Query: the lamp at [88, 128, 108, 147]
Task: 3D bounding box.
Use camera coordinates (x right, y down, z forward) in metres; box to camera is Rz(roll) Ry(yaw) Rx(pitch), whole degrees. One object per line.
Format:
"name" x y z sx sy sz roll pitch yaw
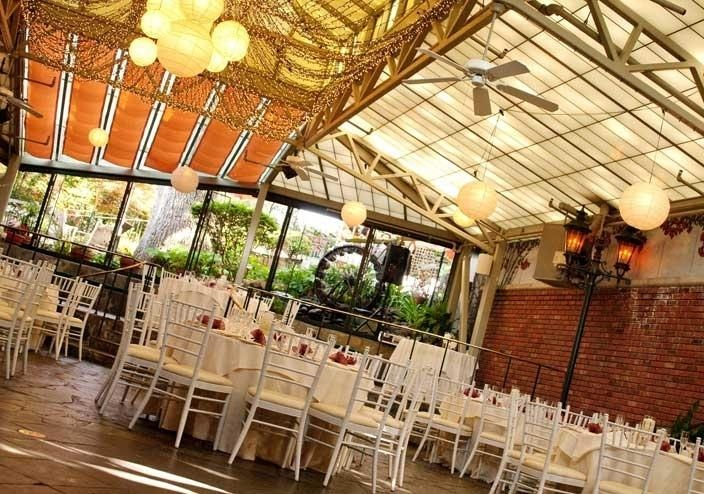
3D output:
"lamp" -4.784 -2.099 9.453 0.276 0.290 0.500 11 -8 -23

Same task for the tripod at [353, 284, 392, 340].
"tripod" 0.371 1.546 12.058 1.250 1.112 0.398 5 -4 23

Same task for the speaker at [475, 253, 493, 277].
"speaker" 2.961 0.415 11.189 0.463 0.470 0.471 -3 -10 32

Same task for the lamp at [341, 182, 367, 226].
"lamp" 0.031 -0.617 8.953 0.395 0.430 0.266 8 -7 5

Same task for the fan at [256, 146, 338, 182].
"fan" -1.225 -1.831 10.880 1.228 0.394 1.165 12 -7 -16

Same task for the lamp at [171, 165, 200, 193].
"lamp" -3.171 -1.307 9.485 0.432 0.340 0.409 10 -8 -19
